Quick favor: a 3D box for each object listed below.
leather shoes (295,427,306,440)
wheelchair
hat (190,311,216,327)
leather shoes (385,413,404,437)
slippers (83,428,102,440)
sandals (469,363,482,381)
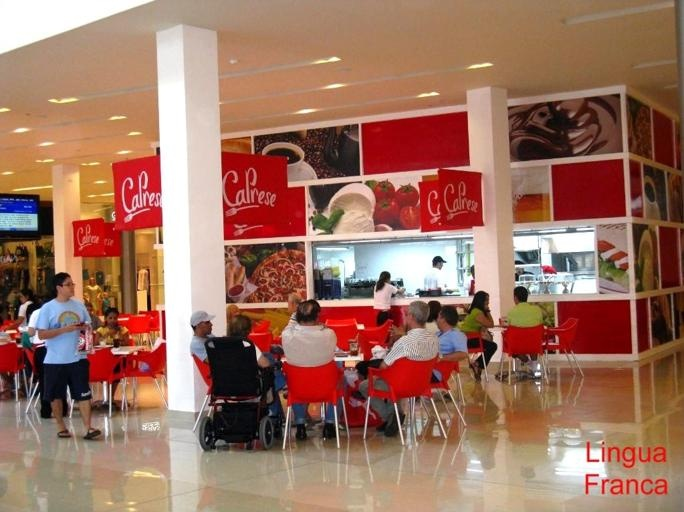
[{"bbox_3d":[-0.479,2.008,6.276,0.130,0.138,0.128,1,-8,-8],"label":"leather shoes"},{"bbox_3d":[-1.148,1.431,6.002,0.787,1.254,0.771,-2,-3,6],"label":"wheelchair"},{"bbox_3d":[-1.763,0.772,6.928,0.263,0.130,0.181,-9,10,-22],"label":"hat"},{"bbox_3d":[0.596,1.913,6.400,0.228,0.222,0.441,-3,-3,10],"label":"leather shoes"},{"bbox_3d":[-2.965,2.095,6.524,0.103,0.100,0.286,4,-11,-39],"label":"slippers"},{"bbox_3d":[2.306,1.950,9.515,0.156,0.370,0.130,-9,-4,-2],"label":"sandals"}]
